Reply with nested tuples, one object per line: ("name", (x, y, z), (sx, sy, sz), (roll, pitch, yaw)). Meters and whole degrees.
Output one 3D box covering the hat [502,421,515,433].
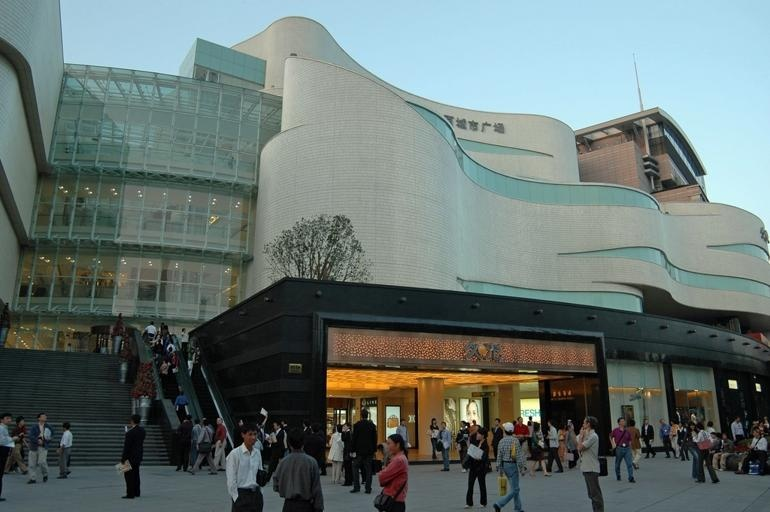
("hat", (3.493, 4.845, 15.850), (0.222, 0.303, 0.481), (-3, -15, 4))
